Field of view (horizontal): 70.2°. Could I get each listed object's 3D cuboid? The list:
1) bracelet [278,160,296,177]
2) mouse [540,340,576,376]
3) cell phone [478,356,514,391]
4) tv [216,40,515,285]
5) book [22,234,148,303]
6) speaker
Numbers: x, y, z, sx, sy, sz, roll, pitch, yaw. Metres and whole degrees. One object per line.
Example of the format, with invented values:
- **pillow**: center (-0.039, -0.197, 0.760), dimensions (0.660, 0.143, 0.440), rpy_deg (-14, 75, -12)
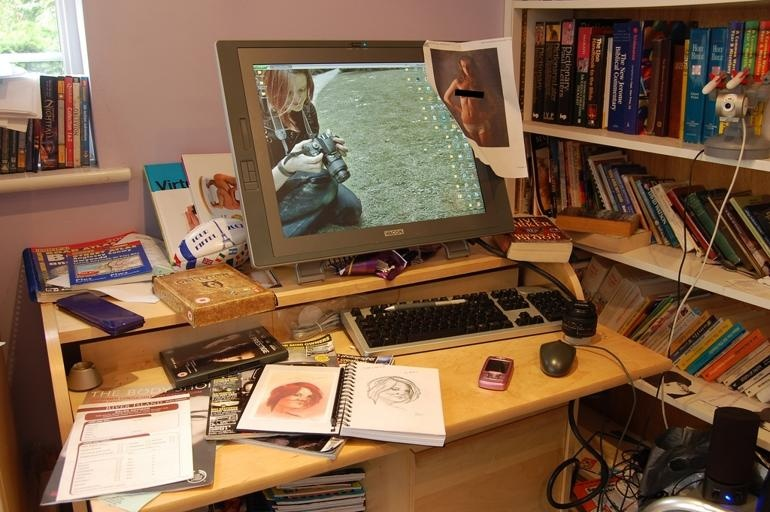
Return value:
- **bracelet**: center (-0.263, -0.232, 1.476), dimensions (0.038, 0.041, 0.015), rpy_deg (-33, 3, -27)
- **mouse**: center (0.448, 0.260, 1.405), dimensions (0.095, 0.059, 0.095), rpy_deg (-2, 23, 11)
- **cell phone**: center (0.280, 0.293, 1.374), dimensions (0.066, 0.037, 0.106), rpy_deg (5, 24, 25)
- **tv**: center (-0.061, -0.280, 1.543), dimensions (0.710, 0.439, 0.263), rpy_deg (-10, 35, -23)
- **book**: center (-0.916, 0.030, 1.527), dimensions (0.250, 0.052, 0.240), rpy_deg (-13, 31, -34)
- **speaker**: center (0.772, 0.445, 1.220), dimensions (0.086, 0.207, 0.116), rpy_deg (9, 28, 33)
